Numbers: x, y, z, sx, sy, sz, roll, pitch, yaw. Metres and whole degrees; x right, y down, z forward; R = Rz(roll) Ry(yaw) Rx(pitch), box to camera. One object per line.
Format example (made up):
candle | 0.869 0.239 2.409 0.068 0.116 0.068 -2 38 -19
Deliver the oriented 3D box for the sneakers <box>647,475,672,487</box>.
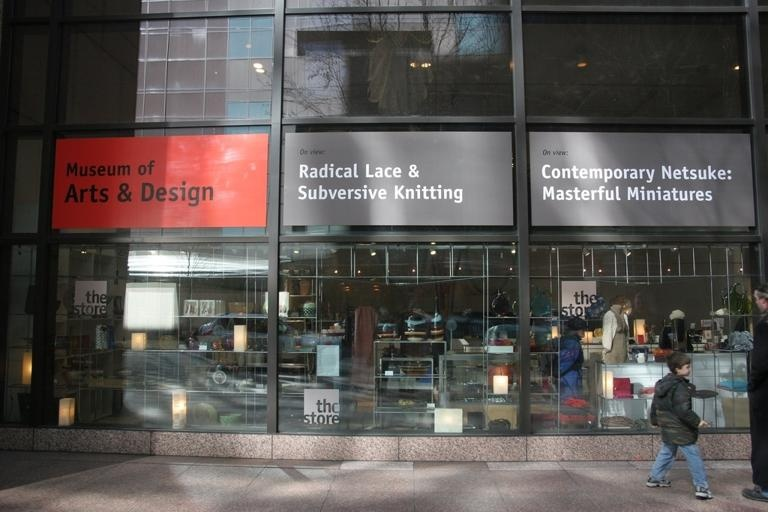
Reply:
sneakers | 4.502 3.646 12.188 0.454 0.191 0.146 0 -4 -2

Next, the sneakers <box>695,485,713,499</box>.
sneakers | 5.019 3.699 11.765 0.131 0.137 0.328 -3 -7 36

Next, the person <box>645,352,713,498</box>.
person | 4.679 2.673 11.970 0.859 2.280 0.532 -4 -10 25

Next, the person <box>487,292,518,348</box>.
person | 2.189 1.223 13.719 0.604 0.947 0.542 -1 -10 15

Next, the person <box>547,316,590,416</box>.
person | 3.317 1.952 13.475 0.565 1.675 0.122 1 -9 -1
